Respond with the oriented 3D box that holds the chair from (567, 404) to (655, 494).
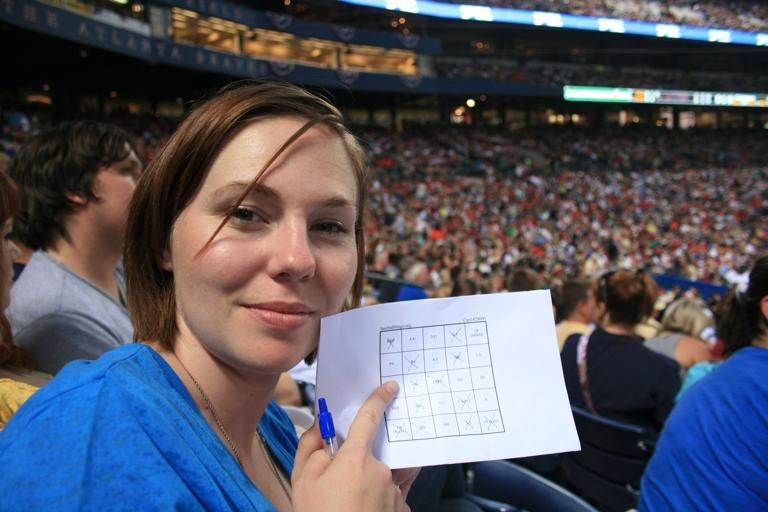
[{"bbox_3d":[1.431,1.216,4.334,0.451,0.574,0.463,-5,11,-37],"label":"chair"}]
